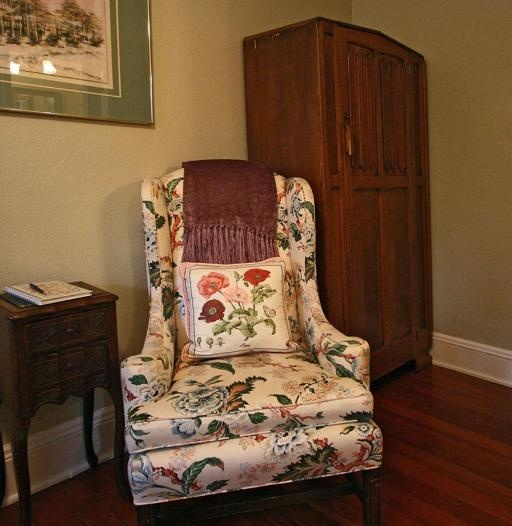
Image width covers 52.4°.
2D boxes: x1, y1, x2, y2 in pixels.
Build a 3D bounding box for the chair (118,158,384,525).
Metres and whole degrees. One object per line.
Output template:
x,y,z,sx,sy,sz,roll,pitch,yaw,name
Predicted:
-0.061,0.196,1.717,0.729,1.027,0.835,-5,14,-9,chair
